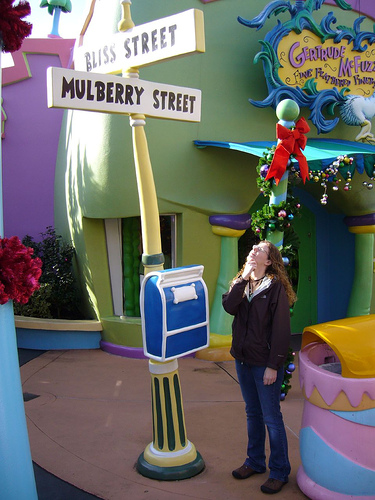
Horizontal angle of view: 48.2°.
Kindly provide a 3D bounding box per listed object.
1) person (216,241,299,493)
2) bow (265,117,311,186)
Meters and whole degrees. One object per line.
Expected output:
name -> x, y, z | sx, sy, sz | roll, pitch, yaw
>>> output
person -> 0.460, 0.769, 2.770 | 0.438, 1.643, 0.356 | -1, 1, 4
bow -> 0.958, -0.937, 3.973 | 0.405, 0.611, 0.283 | -1, 1, 3
